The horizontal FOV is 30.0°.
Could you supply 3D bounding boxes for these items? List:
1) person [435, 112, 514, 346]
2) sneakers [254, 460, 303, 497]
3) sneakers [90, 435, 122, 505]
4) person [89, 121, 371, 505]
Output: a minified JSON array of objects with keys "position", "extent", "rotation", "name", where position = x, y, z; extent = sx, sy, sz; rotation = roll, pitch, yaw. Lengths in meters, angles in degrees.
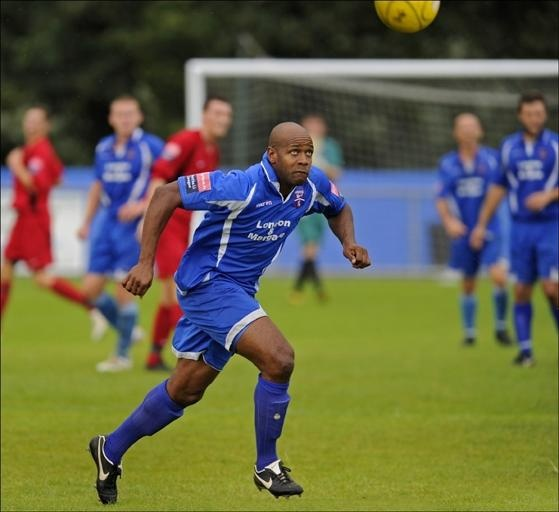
[{"position":[1.233,-0.196,6.671],"extent":[0.452,1.386,1.094],"rotation":[0,7,9],"name":"person"},{"position":[-0.024,1.228,5.743],"extent":[0.149,0.186,0.363],"rotation":[1,3,-40],"name":"sneakers"},{"position":[-0.971,1.220,6.008],"extent":[0.214,0.390,0.142],"rotation":[-9,-4,10],"name":"sneakers"},{"position":[-0.280,0.332,5.831],"extent":[1.537,2.106,0.765],"rotation":[-3,7,-12],"name":"person"}]
